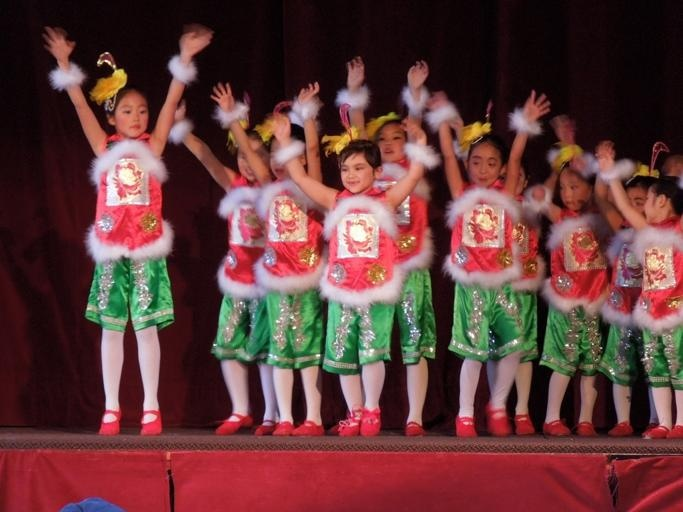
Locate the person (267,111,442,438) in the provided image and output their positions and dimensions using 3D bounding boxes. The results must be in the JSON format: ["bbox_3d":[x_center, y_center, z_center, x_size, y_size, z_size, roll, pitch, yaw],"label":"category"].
[{"bbox_3d":[0.118,0.064,4.361,0.742,1.495,0.185,-6,1,-4],"label":"person"}]

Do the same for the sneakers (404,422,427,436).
[{"bbox_3d":[0.360,0.847,4.522,0.081,0.055,0.207,-1,-12,1],"label":"sneakers"}]

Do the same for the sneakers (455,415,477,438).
[{"bbox_3d":[0.585,0.804,4.370,0.090,0.094,0.122,-6,0,8],"label":"sneakers"}]

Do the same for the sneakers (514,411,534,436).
[{"bbox_3d":[0.905,0.834,4.597,0.096,0.093,0.238,-5,-10,3],"label":"sneakers"}]

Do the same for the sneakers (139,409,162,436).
[{"bbox_3d":[-0.893,0.779,4.306,0.096,0.119,0.170,-6,0,-15],"label":"sneakers"}]

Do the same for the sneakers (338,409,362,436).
[{"bbox_3d":[0.044,0.785,4.392,0.081,0.061,0.144,-2,2,17],"label":"sneakers"}]

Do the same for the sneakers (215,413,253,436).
[{"bbox_3d":[-0.546,0.844,4.629,0.082,0.089,0.232,-7,-10,31],"label":"sneakers"}]

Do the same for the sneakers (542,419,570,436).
[{"bbox_3d":[1.077,0.855,4.585,0.065,0.047,0.128,-1,-7,-19],"label":"sneakers"}]

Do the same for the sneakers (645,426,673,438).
[{"bbox_3d":[1.492,0.827,4.364,0.053,0.037,0.139,-9,-12,35],"label":"sneakers"}]

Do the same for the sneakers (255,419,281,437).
[{"bbox_3d":[-0.361,0.848,4.554,0.080,0.090,0.222,-4,-10,24],"label":"sneakers"}]

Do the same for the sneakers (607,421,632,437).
[{"bbox_3d":[1.390,0.863,4.613,0.064,0.051,0.134,-3,-8,45],"label":"sneakers"}]

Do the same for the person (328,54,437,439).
[{"bbox_3d":[0.143,0.012,4.769,0.603,2.252,0.369,0,36,7],"label":"person"}]

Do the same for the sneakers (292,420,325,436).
[{"bbox_3d":[-0.155,0.827,4.438,0.062,0.042,0.133,-5,-17,32],"label":"sneakers"}]

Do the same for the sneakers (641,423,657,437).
[{"bbox_3d":[1.498,0.847,4.489,0.057,0.063,0.167,-2,-13,7],"label":"sneakers"}]

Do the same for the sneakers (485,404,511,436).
[{"bbox_3d":[0.757,0.795,4.451,0.113,0.145,0.314,-6,0,9],"label":"sneakers"}]

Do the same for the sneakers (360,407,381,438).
[{"bbox_3d":[0.134,0.777,4.305,0.099,0.127,0.148,-6,0,-2],"label":"sneakers"}]

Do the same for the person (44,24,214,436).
[{"bbox_3d":[-0.974,-0.150,4.460,0.685,1.997,0.345,-6,1,-14],"label":"person"}]
